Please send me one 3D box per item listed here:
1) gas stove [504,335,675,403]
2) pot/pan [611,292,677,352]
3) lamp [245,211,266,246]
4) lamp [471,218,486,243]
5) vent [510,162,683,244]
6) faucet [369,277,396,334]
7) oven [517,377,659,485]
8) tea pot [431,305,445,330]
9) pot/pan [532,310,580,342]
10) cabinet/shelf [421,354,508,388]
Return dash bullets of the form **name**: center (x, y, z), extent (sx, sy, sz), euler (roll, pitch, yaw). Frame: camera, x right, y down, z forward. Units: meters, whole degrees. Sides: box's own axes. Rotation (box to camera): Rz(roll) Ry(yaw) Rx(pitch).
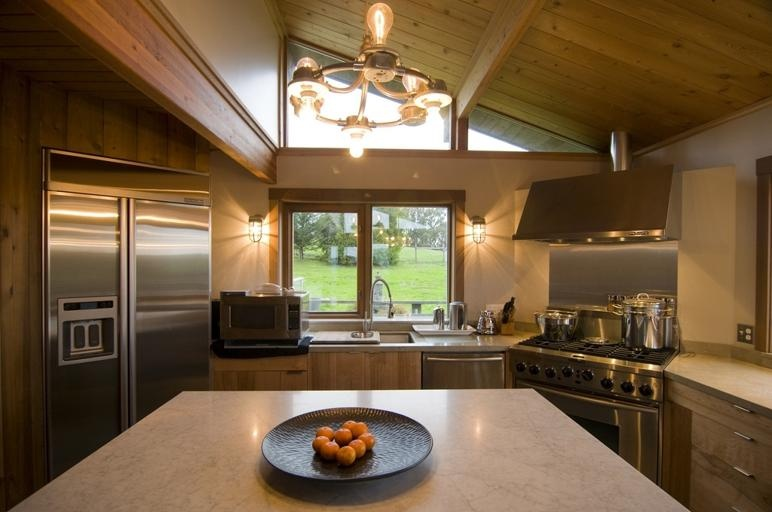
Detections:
- **gas stove**: center (1.823, 0.983, 4.733), extent (1.216, 0.359, 0.740), euler (3, 4, 37)
- **pot/pan**: center (2.351, 0.612, 4.823), extent (0.614, 0.422, 0.444), euler (0, -5, 10)
- **lamp**: center (-1.348, -0.284, 5.516), extent (0.176, 0.289, 0.105), euler (-2, 7, -14)
- **lamp**: center (0.982, -0.279, 5.631), extent (0.153, 0.290, 0.089), euler (0, 7, 8)
- **vent**: center (1.912, -0.460, 4.700), extent (0.744, 0.719, 1.415), euler (26, -23, -39)
- **faucet**: center (-0.052, 0.499, 5.634), extent (0.271, 0.535, 0.319), euler (-1, 7, -1)
- **oven**: center (1.809, 1.396, 4.631), extent (1.001, 0.936, 0.687), euler (2, 7, 17)
- **tea pot**: center (0.551, 0.632, 5.476), extent (0.113, 0.208, 0.160), euler (1, 7, 9)
- **pot/pan**: center (1.635, 0.665, 5.070), extent (0.311, 0.206, 0.308), euler (0, -7, 4)
- **cabinet/shelf**: center (0.717, 1.066, 4.928), extent (0.568, 0.360, 0.377), euler (0, -5, -1)
